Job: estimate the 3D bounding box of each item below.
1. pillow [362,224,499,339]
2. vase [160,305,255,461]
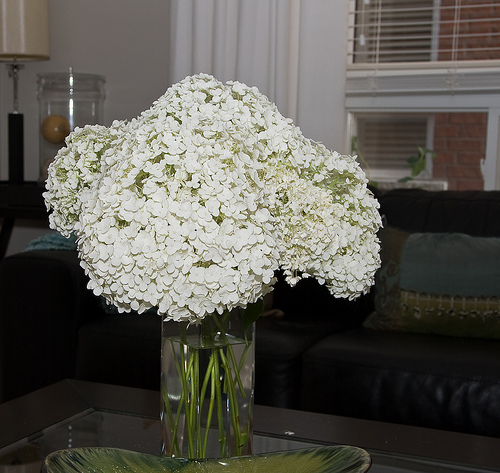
[{"bbox_3d":[0.593,0.153,1.795,0.298,0.257,0.046,2,-4,31],"label":"pillow"},{"bbox_3d":[-0.050,0.146,0.720,0.079,0.325,0.063,14,24,17],"label":"vase"}]
